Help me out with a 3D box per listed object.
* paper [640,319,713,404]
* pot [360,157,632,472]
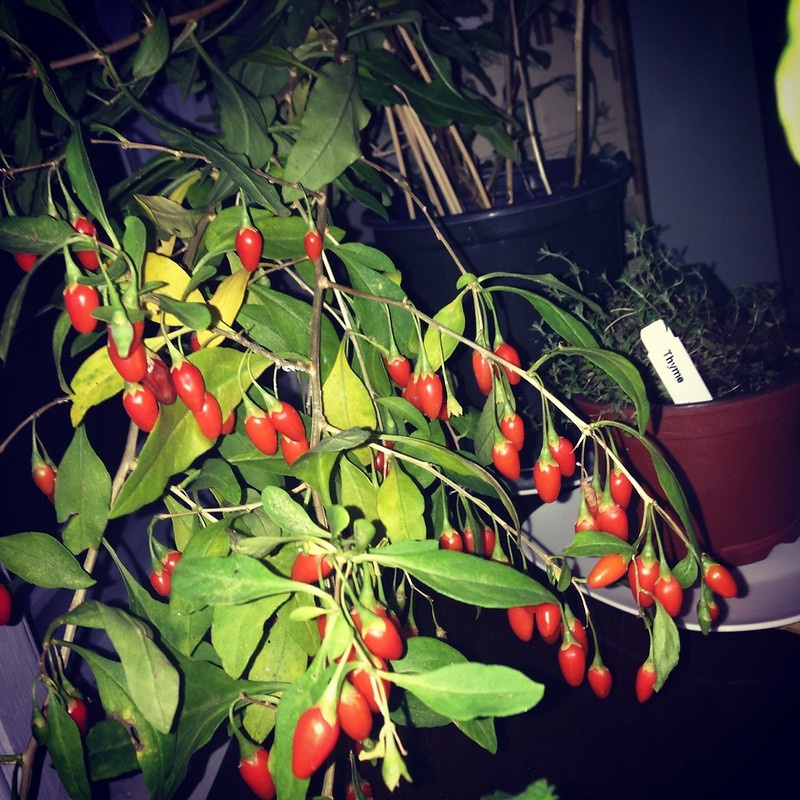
[{"bbox_3d":[0.311,-0.040,0.887,0.054,0.127,0.020,-23,7,33],"label":"paper"},{"bbox_3d":[0.181,-0.176,1.229,0.319,0.400,0.390,0,31,15],"label":"pot"}]
